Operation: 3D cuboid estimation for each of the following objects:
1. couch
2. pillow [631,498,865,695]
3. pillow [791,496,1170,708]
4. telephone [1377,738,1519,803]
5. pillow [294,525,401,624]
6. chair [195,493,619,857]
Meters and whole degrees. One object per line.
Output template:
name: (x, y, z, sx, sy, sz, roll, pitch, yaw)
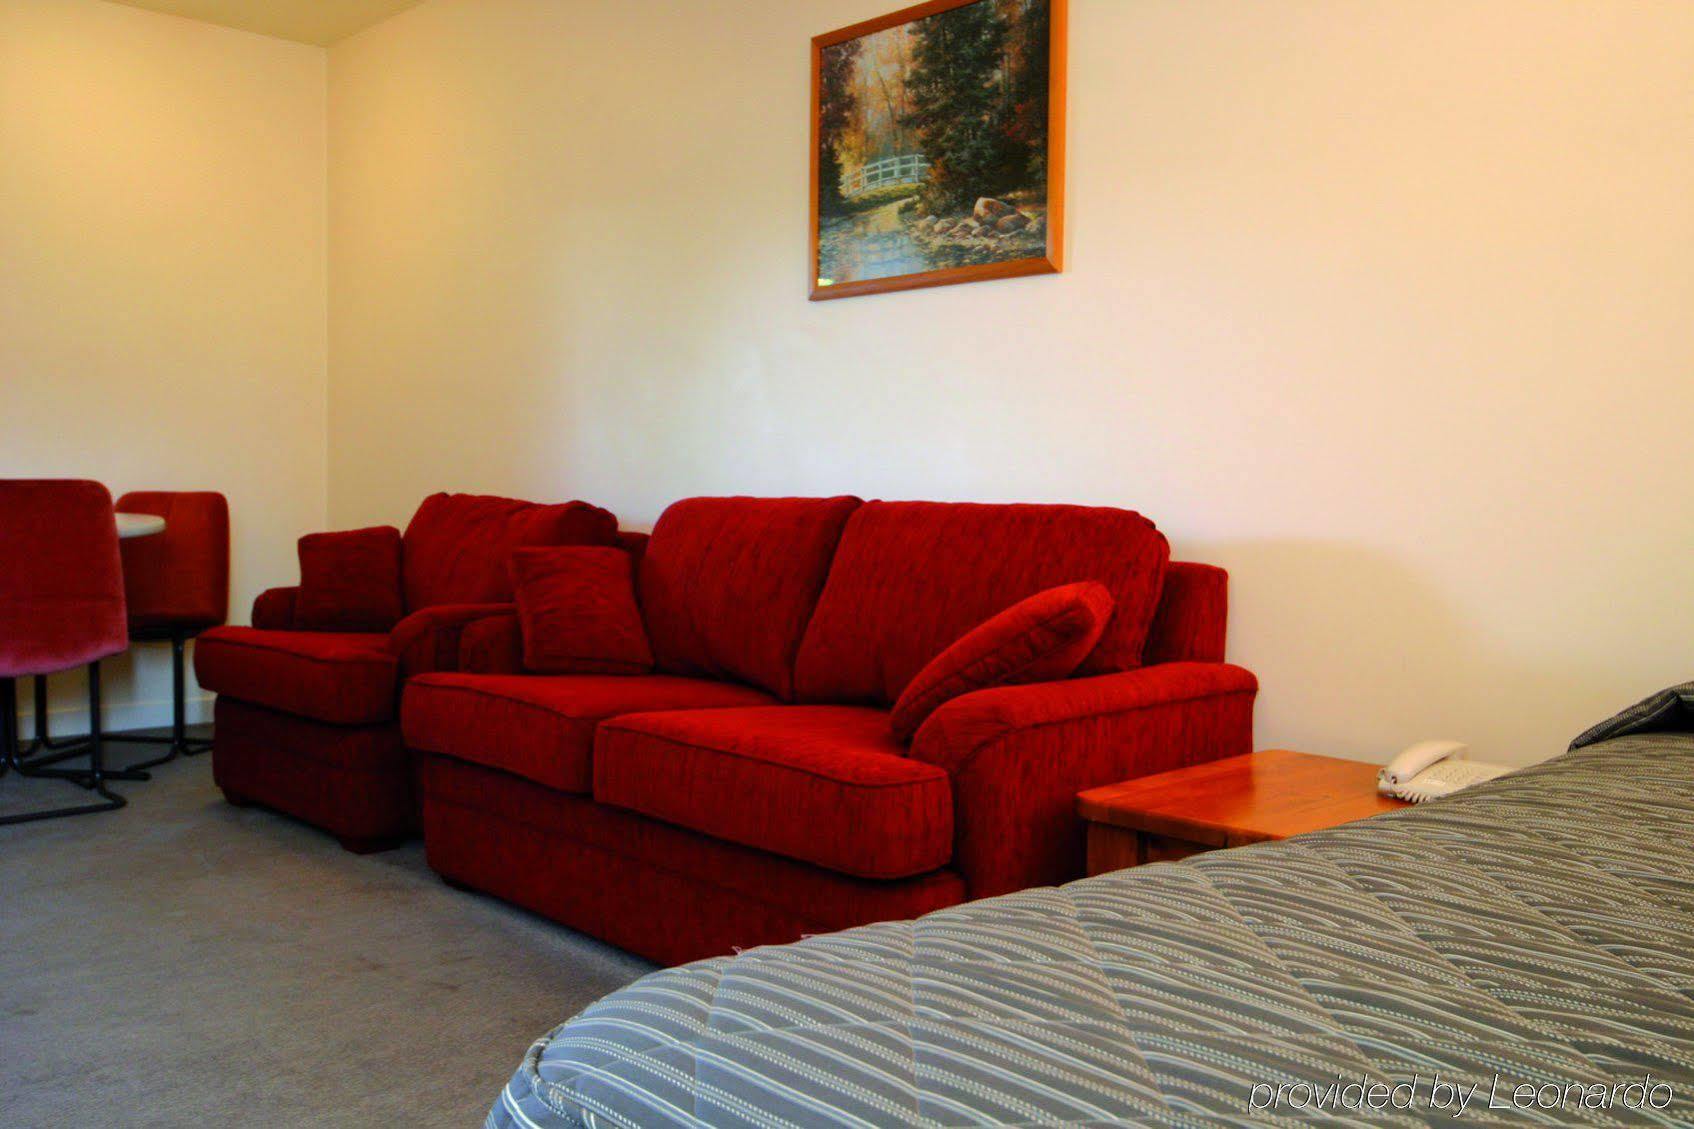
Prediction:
couch: (-0.035, 0.393, 2.852, 0.725, 0.609, 1.302, 4, -5, -45)
pillow: (-0.279, 0.114, 3.632, 0.615, 0.411, 0.226, 3, 7, 43)
pillow: (0.380, 0.064, 3.210, 0.703, 0.672, 0.217, 1, -22, 44)
telephone: (1.288, 0.451, 2.586, 0.222, 0.090, 0.291, -9, 12, -34)
pillow: (-1.937, 0.051, 4.617, 0.380, 0.339, 0.136, -2, -23, -4)
chair: (-1.502, 0.363, 4.523, 1.454, 1.295, 1.349, 0, -1, 44)
